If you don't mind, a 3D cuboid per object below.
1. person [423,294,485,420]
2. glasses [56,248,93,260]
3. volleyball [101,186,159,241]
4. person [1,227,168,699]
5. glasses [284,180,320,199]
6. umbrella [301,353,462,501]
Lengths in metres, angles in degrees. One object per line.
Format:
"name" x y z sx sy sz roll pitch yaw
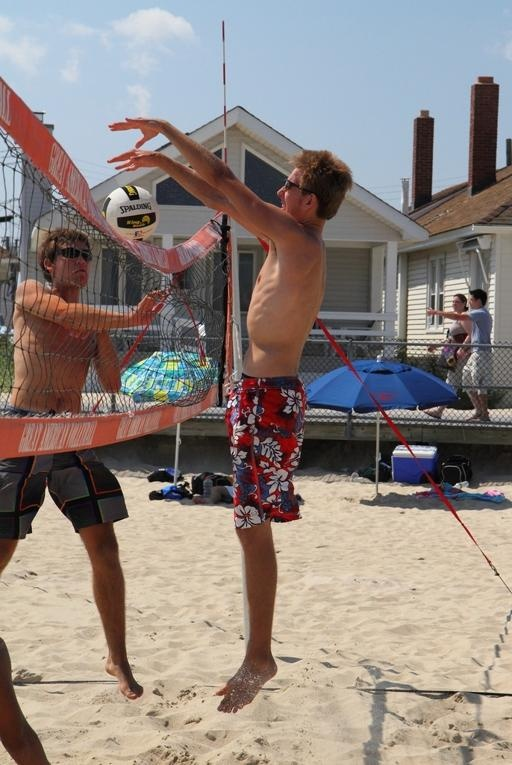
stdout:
"person" 2.606 -0.456 11.295 0.675 1.785 0.709 5 5 -21
"glasses" -0.737 -0.523 3.624 0.131 0.053 0.067 0 2 -12
"volleyball" -0.746 -0.950 5.050 0.319 0.370 0.339 7 5 29
"person" -0.709 0.332 3.773 0.724 1.805 0.696 9 5 -8
"glasses" 0.184 -0.772 3.540 0.106 0.026 0.093 16 4 -7
"umbrella" 1.349 0.195 9.526 0.981 0.763 0.971 10 6 38
